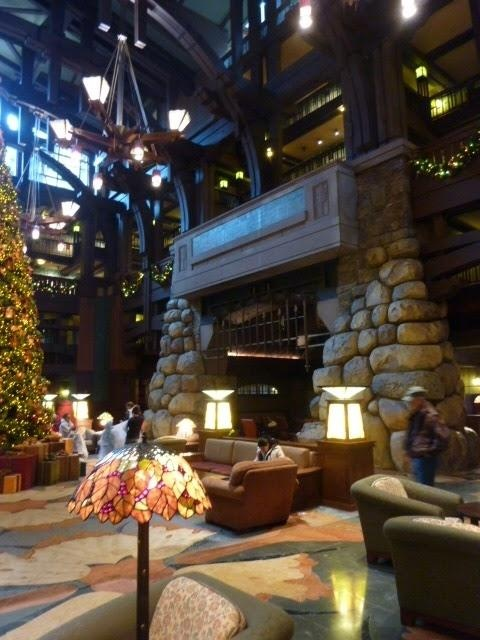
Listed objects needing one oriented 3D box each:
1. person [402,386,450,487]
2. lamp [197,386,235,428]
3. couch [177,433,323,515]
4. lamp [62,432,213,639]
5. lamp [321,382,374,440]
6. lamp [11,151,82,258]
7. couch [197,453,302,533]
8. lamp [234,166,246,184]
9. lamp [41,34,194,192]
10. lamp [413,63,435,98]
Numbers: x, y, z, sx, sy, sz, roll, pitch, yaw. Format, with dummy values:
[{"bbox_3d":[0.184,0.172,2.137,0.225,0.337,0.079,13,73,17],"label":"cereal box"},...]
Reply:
[{"bbox_3d":[1.858,1.156,4.977,0.383,0.949,0.463,-3,-7,12],"label":"person"},{"bbox_3d":[-0.391,1.570,8.779,0.441,0.679,1.456,-1,-7,-4],"label":"lamp"},{"bbox_3d":[0.057,1.929,6.342,0.655,0.736,2.113,12,-13,-41],"label":"couch"},{"bbox_3d":[-0.250,0.644,1.363,0.344,0.590,0.362,-8,-9,43],"label":"lamp"},{"bbox_3d":[1.354,1.123,6.098,0.439,0.610,1.080,-5,-8,27],"label":"lamp"},{"bbox_3d":[-5.169,-3.465,12.818,1.534,2.872,1.584,-16,20,-38],"label":"lamp"},{"bbox_3d":[0.116,1.715,4.988,0.895,0.655,0.636,8,-9,-38],"label":"couch"},{"bbox_3d":[0.082,-4.301,14.776,0.285,0.276,0.281,7,-16,-18],"label":"lamp"},{"bbox_3d":[-1.599,-3.136,6.872,1.350,1.458,1.317,-2,18,-11],"label":"lamp"},{"bbox_3d":[4.334,-5.493,11.746,0.331,0.752,0.894,-5,-7,21],"label":"lamp"}]
